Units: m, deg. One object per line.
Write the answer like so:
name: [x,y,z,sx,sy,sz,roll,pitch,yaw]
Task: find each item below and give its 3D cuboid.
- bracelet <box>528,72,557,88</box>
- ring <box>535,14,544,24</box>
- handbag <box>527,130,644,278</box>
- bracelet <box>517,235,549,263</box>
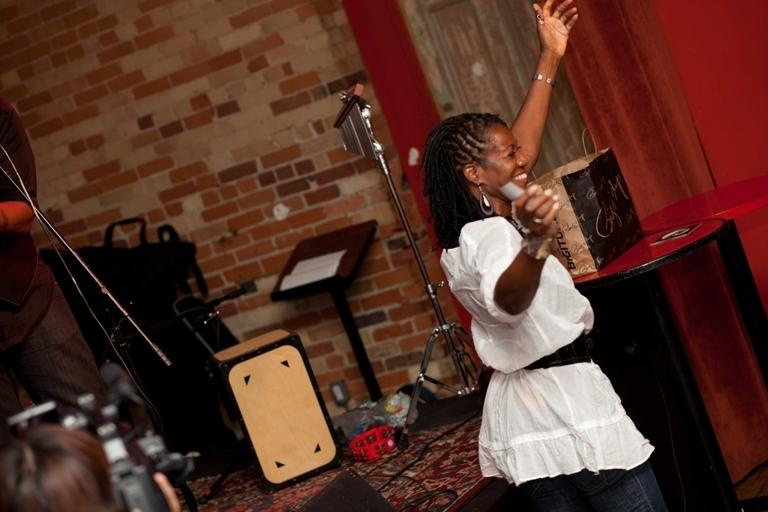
bracelet: [0.555,-0.602,2.341,0.062,0.043,0.063,-3,-22,4]
ring: [0.540,-0.818,2.380,0.019,0.035,0.010,-9,-5,33]
handbag: [0.693,-0.165,2.278,0.240,0.447,0.449,-18,9,44]
bracelet: [0.353,-0.019,1.586,0.051,0.053,0.054,1,1,5]
